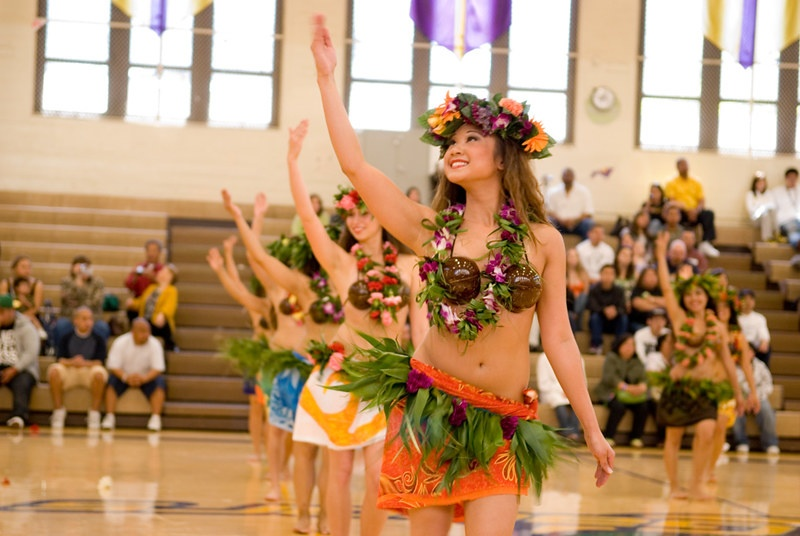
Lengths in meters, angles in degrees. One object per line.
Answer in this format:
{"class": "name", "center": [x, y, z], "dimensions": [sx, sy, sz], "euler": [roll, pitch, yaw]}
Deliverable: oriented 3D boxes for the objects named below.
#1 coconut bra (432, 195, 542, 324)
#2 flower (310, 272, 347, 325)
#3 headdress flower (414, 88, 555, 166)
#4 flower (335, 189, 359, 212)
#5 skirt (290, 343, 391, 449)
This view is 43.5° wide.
{"class": "coconut bra", "center": [0.577, 0.014, 7.225], "dimensions": [0.837, 0.979, 0.254], "euler": [2, 6, -1]}
{"class": "flower", "center": [-0.697, 0.288, 9.030], "dimensions": [0.290, 0.406, 0.178], "euler": [-28, -5, -25]}
{"class": "headdress flower", "center": [0.631, -1.042, 7.411], "dimensions": [0.944, 0.355, 0.716], "euler": [5, -9, 13]}
{"class": "flower", "center": [-0.452, -0.567, 8.793], "dimensions": [0.202, 0.203, 0.097], "euler": [-19, -27, -4]}
{"class": "skirt", "center": [-0.523, 1.211, 8.679], "dimensions": [1.151, 1.095, 0.618], "euler": [3, -2, 16]}
